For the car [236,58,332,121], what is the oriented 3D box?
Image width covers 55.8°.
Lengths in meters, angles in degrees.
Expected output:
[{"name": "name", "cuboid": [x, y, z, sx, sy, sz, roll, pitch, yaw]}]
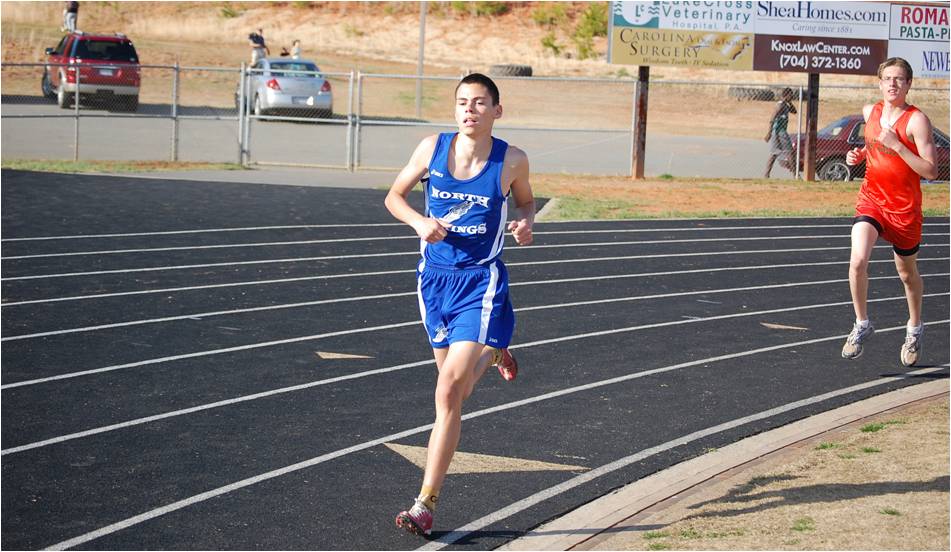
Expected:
[{"name": "car", "cuboid": [-5.907, -5.771, 28.022, 2.211, 1.207, 3.761, -3, 15, -17]}]

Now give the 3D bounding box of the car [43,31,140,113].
[{"name": "car", "cuboid": [-11.932, -6.491, 28.077, 3.082, 2.364, 5.276, -2, 15, -23]}]

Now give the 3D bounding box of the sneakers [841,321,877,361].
[{"name": "sneakers", "cuboid": [4.985, 0.858, 11.707, 0.178, 0.494, 0.222, 30, -7, 29]}]
